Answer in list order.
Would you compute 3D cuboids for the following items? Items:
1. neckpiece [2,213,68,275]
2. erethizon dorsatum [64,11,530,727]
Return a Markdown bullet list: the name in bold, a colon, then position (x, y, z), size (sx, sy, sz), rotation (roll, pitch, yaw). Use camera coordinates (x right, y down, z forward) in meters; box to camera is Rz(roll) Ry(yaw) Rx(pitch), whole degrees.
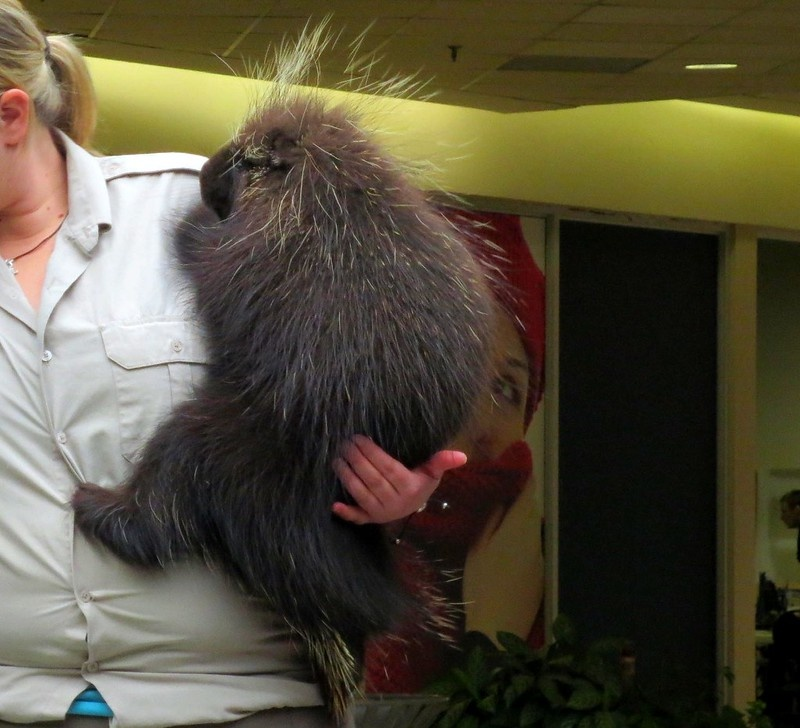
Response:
- **neckpiece**: position (-0.643, -0.207, 1.763), size (0.079, 0.123, 0.037), rotation (50, 4, 25)
- **erethizon dorsatum**: position (-0.189, 0.088, 1.708), size (0.643, 1.092, 0.307), rotation (7, 10, 5)
